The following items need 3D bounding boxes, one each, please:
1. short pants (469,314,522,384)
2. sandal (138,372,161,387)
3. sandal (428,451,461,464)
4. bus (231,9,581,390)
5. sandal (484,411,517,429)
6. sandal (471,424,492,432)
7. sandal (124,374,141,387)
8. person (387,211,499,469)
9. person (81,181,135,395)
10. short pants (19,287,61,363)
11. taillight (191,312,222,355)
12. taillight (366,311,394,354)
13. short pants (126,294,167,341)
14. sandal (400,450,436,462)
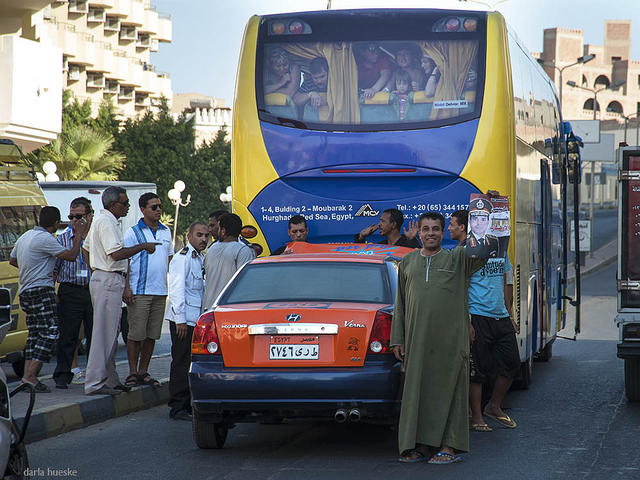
[{"bbox_3d":[1.826,1.147,8.766,0.595,0.728,0.240,-1,1,-25],"label":"short pants"},{"bbox_3d":[-2.141,1.727,10.244,0.329,0.150,0.120,19,14,5],"label":"sandal"},{"bbox_3d":[1.122,1.921,7.351,0.282,0.088,0.104,5,-8,-32],"label":"sandal"},{"bbox_3d":[1.887,-1.314,13.413,2.571,4.236,8.130,-1,2,15],"label":"bus"},{"bbox_3d":[1.971,1.983,8.991,0.334,0.098,0.137,27,10,35],"label":"sandal"},{"bbox_3d":[1.713,1.964,8.663,0.180,0.058,0.075,-2,0,15],"label":"sandal"},{"bbox_3d":[-2.312,1.718,10.022,0.187,0.143,0.354,0,1,-1],"label":"sandal"},{"bbox_3d":[1.073,0.881,7.518,0.873,2.270,0.803,0,1,9],"label":"person"},{"bbox_3d":[-2.513,0.595,9.768,0.577,2.460,1.120,-1,1,-16],"label":"person"},{"bbox_3d":[-3.310,0.992,9.695,0.427,0.874,0.332,-1,1,-23],"label":"short pants"},{"bbox_3d":[-1.023,0.850,7.466,0.211,0.401,0.385,1,9,2],"label":"taillight"},{"bbox_3d":[0.526,0.819,7.275,0.241,0.363,0.163,0,1,-3],"label":"taillight"},{"bbox_3d":[-2.076,0.901,9.907,0.333,0.698,0.416,2,6,18],"label":"short pants"},{"bbox_3d":[0.889,1.948,7.396,0.306,0.093,0.112,4,-4,-33],"label":"sandal"}]
